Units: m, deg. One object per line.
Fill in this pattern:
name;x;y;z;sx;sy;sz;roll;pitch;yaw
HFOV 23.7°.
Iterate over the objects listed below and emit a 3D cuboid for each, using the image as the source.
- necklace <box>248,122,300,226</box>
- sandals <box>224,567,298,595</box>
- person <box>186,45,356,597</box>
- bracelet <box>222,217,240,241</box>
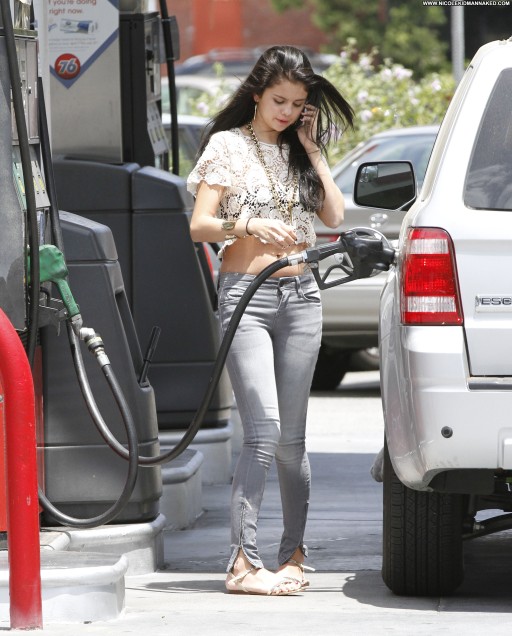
necklace;0.085;-0.448;4.068;0.112;0.027;0.369;13;27;-28
sandals;0.032;0.851;3.999;0.199;0.081;0.097;-1;-3;-5
person;0.051;0.167;4.184;0.522;2.057;0.980;1;24;6
bracelet;-0.082;-0.283;3.869;0.051;0.054;0.023;-4;-2;26
